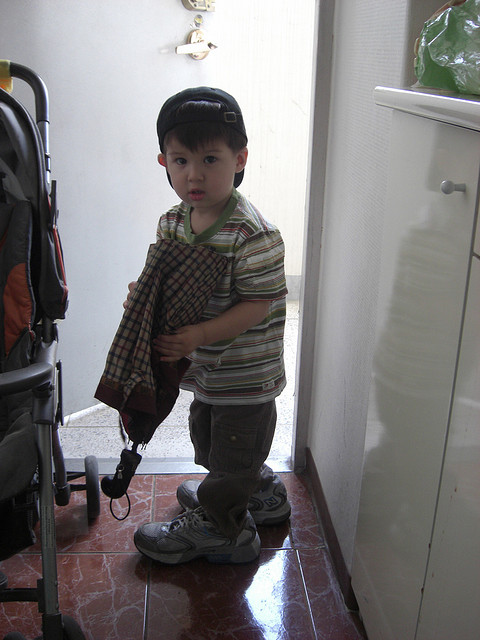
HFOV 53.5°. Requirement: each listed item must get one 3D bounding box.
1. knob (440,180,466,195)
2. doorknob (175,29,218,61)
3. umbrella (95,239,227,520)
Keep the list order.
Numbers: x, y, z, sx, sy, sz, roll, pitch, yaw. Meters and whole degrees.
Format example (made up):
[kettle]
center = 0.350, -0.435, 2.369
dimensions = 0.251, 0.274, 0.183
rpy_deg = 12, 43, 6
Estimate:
[knob]
center = 0.177, -0.111, 0.396
dimensions = 0.017, 0.008, 0.008
rpy_deg = -10, 33, -23
[doorknob]
center = -0.146, -0.926, 1.586
dimensions = 0.119, 0.081, 0.044
rpy_deg = -15, 34, -28
[umbrella]
center = -0.142, 0.107, 0.879
dimensions = 0.240, 0.506, 0.150
rpy_deg = -3, 14, -18
